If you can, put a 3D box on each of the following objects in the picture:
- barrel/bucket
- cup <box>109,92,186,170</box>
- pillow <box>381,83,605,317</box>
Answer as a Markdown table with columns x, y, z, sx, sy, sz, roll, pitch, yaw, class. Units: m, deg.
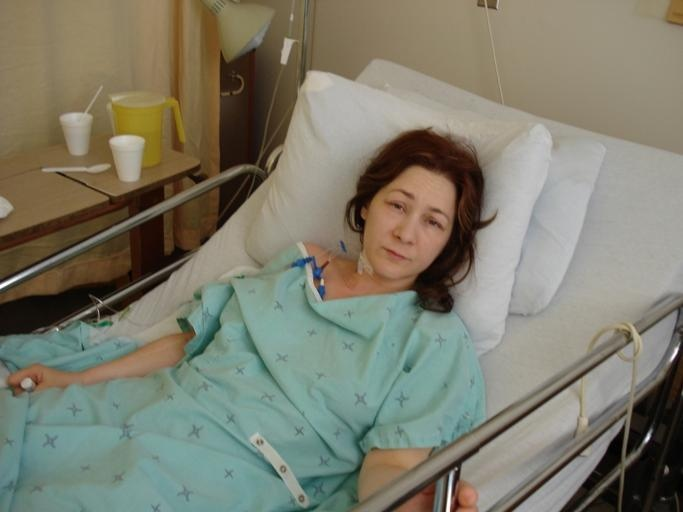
| x | y | z | sx | sy | sz | roll | pitch | yaw | class |
| --- | --- | --- | --- | --- | --- | --- | --- | --- | --- |
| -0.808 | -0.530 | 2.336 | 0.265 | 0.287 | 0.238 | -5 | 32 | -15 | barrel/bucket |
| -0.808 | -0.529 | 2.328 | 0.262 | 0.282 | 0.245 | 4 | 32 | -3 | cup |
| 0.399 | -0.128 | 1.532 | 0.586 | 0.644 | 0.149 | 20 | 8 | 13 | pillow |
